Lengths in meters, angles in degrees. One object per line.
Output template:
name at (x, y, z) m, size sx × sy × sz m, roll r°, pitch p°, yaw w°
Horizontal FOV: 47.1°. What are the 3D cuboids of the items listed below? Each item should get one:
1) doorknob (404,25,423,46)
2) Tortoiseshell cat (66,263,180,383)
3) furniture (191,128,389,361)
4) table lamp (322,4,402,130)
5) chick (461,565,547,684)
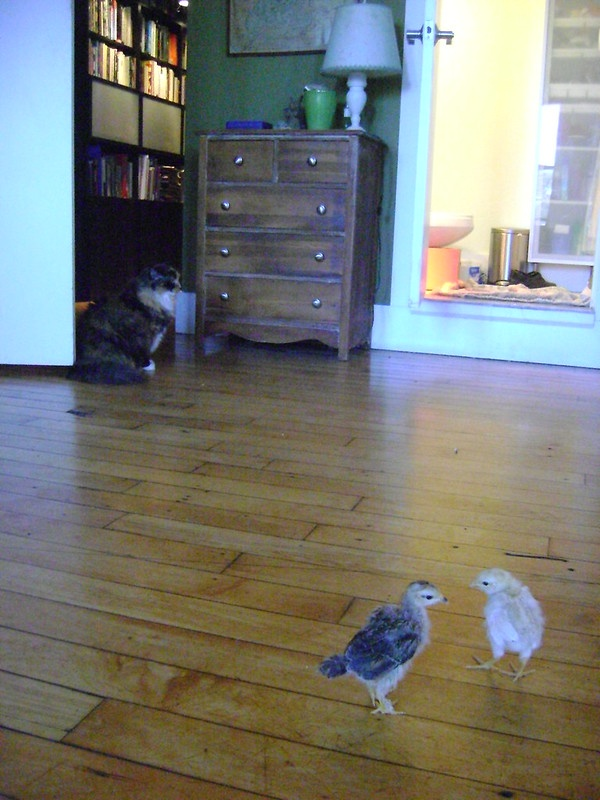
doorknob at (0.553, -1.775, 3.362) m, size 0.099 × 0.094 × 0.062 m, roll 3°, pitch 20°, yaw 5°
Tortoiseshell cat at (-0.665, -0.329, 2.766) m, size 0.418 × 0.468 × 0.413 m, roll 12°, pitch 17°, yaw 30°
furniture at (-0.041, -0.801, 3.461) m, size 0.835 × 1.014 × 0.527 m, roll 9°, pitch 16°, yaw 22°
table lamp at (0.275, -1.523, 3.228) m, size 0.347 × 0.620 × 0.355 m, roll 5°, pitch 16°, yaw 11°
chick at (0.263, 0.269, 0.898) m, size 0.115 × 0.131 × 0.106 m, roll 2°, pitch 10°, yaw 25°
